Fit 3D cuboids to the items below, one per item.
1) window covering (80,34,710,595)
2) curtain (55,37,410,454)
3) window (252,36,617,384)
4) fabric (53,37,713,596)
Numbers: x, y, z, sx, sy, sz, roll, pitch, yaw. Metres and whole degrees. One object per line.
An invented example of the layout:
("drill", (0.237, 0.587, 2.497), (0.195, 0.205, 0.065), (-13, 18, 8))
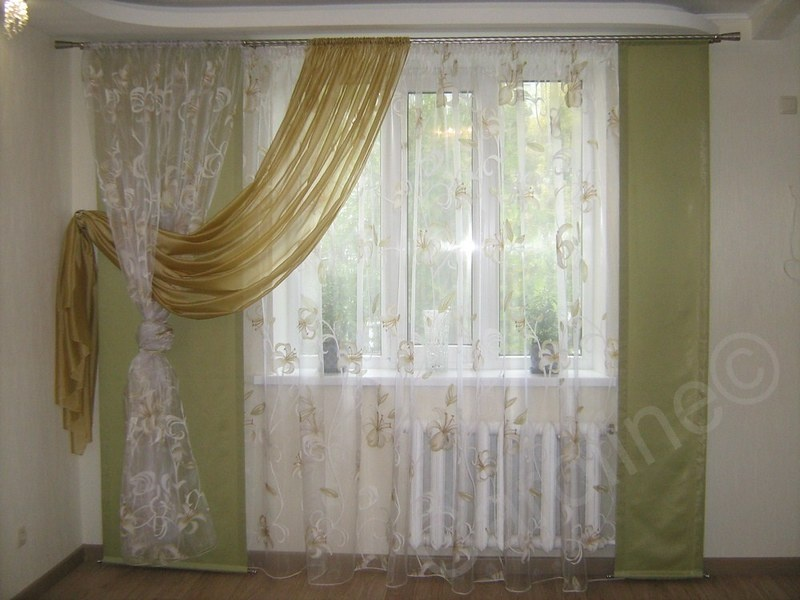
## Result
("window covering", (0.105, 0.025, 5.131), (2.965, 3.495, 0.122), (0, -1, 6))
("curtain", (-0.963, -0.360, 5.140), (2.237, 3.034, 0.400), (0, 1, 2))
("window", (0.275, -0.592, 5.119), (1.861, 1.906, 0.158), (0, 3, 4))
("fabric", (0.033, 0.071, 5.133), (2.956, 3.487, 0.058), (0, -1, 7))
